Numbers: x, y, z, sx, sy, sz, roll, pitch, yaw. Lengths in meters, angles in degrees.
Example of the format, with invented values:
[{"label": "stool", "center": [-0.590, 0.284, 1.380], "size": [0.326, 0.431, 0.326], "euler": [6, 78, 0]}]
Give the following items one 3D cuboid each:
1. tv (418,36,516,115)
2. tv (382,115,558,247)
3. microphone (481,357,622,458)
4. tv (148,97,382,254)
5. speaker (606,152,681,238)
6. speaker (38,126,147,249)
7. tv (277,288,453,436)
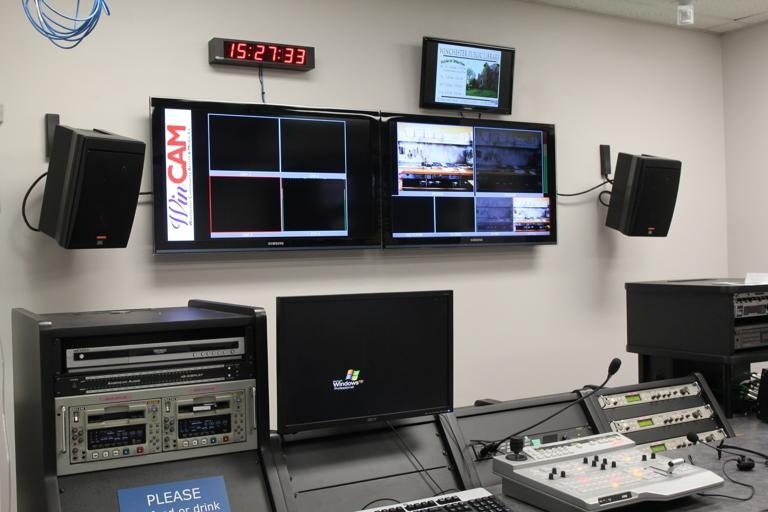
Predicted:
[{"label": "tv", "center": [0.590, -1.333, 4.409], "size": [0.657, 0.394, 0.065], "euler": [1, 5, -21]}, {"label": "tv", "center": [0.594, -0.551, 4.388], "size": [1.296, 0.939, 0.255], "euler": [-2, 3, -11]}, {"label": "microphone", "center": [0.859, 0.805, 3.212], "size": [0.982, 0.239, 0.160], "euler": [-30, -23, -16]}, {"label": "tv", "center": [-0.721, -0.533, 3.990], "size": [1.680, 0.943, 0.123], "euler": [-5, 10, -36]}, {"label": "speaker", "center": [2.023, -0.481, 4.618], "size": [0.500, 0.618, 0.253], "euler": [0, 4, 17]}, {"label": "speaker", "center": [-1.639, -0.384, 3.359], "size": [0.479, 0.617, 0.432], "euler": [17, 10, 23]}, {"label": "tv", "center": [-0.081, 0.416, 2.348], "size": [0.596, 0.422, 0.057], "euler": [-3, 5, -20]}]
